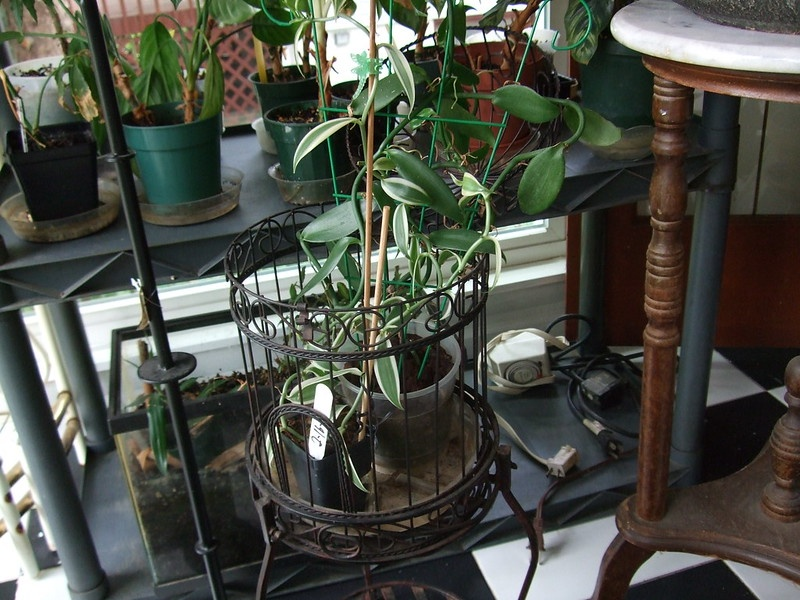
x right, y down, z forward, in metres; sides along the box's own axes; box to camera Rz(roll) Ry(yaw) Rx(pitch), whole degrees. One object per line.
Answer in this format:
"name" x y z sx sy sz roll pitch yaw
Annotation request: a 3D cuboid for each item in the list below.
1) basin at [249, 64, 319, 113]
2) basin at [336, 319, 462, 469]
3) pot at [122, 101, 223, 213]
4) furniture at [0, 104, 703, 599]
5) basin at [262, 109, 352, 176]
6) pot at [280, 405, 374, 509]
"basin" -0.236 -0.427 1.492 0.125 0.107 0.142 5 33 19
"basin" 0.003 0.171 1.147 0.180 0.158 0.204 -10 31 -3
"pot" -0.411 -0.270 1.316 0.153 0.140 0.180 1 26 2
"furniture" -0.121 0.125 1.289 0.961 0.967 0.338 -4 27 -5
"basin" -0.171 -0.269 1.298 0.155 0.127 0.164 -4 30 2
"pot" -0.116 0.245 1.082 0.128 0.175 0.145 -5 25 -10
